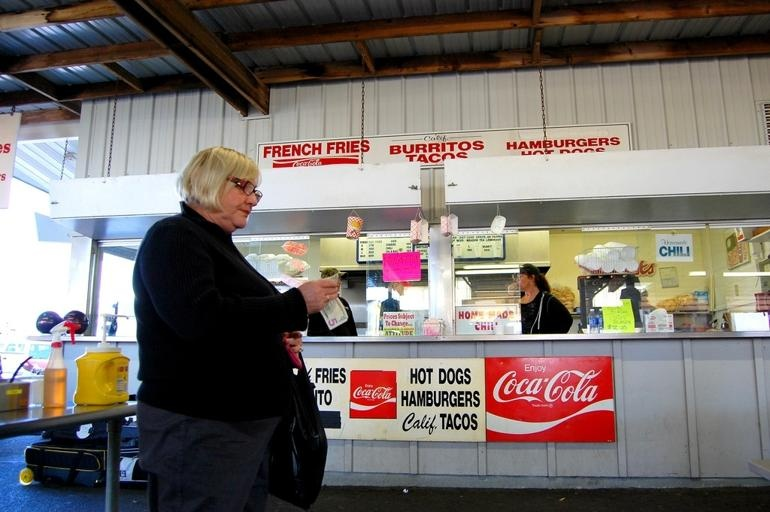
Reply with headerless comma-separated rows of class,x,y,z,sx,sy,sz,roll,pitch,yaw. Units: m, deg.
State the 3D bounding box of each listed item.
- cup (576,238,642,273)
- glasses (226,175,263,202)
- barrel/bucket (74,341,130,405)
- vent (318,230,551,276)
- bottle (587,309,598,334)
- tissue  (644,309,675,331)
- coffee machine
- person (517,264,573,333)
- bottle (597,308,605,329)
cup,2.498,0.023,6.555,0.460,0.180,0.415,-1,-8,6
glasses,-0.767,-0.375,3.295,0.146,0.039,0.138,21,-4,27
barrel/bucket,-1.706,0.724,3.675,0.340,0.304,0.268,-5,-11,29
vent,0.539,-0.041,6.688,2.529,0.431,0.714,-2,-6,11
bottle,2.136,0.640,6.129,0.132,0.221,0.483,-4,-6,18
tissue ,2.584,0.588,5.754,0.351,0.276,0.204,0,-1,20
coffee machine,2.410,0.489,6.615,0.906,0.732,0.599,-3,-17,16
person,1.647,0.433,6.256,0.513,0.775,0.512,1,-34,-1
bottle,2.216,0.628,6.132,0.047,0.195,0.392,-5,-7,19
